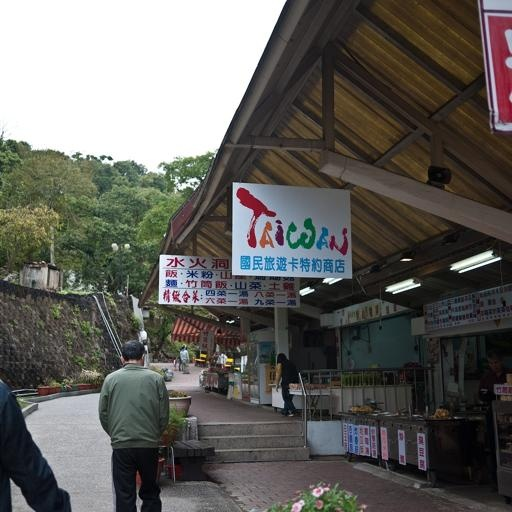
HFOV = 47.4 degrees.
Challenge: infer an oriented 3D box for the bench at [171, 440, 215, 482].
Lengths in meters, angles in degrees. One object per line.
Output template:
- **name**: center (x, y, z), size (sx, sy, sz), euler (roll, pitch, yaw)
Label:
- **bench**: center (-0.908, 2.924, 8.324), size (0.564, 0.450, 0.876), euler (4, -11, -8)

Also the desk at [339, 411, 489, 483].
- **desk**: center (2.392, 2.885, 9.099), size (1.083, 0.886, 3.125), euler (5, -12, -14)
